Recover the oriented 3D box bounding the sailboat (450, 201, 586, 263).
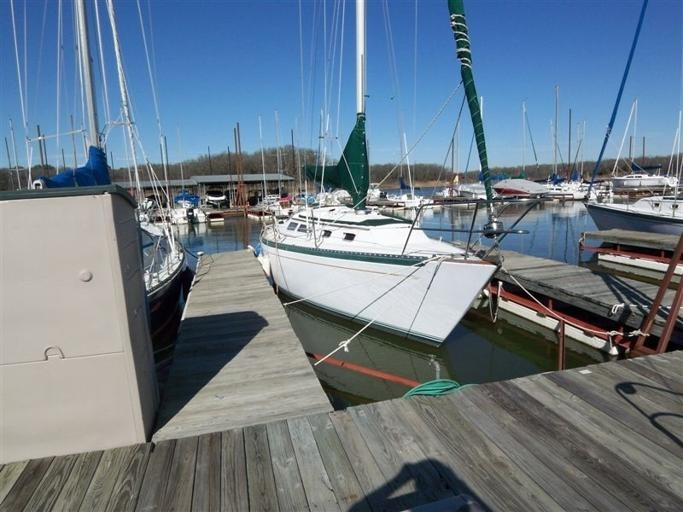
[{"bbox_3d":[5.737,-0.777,13.916,1.883,0.737,2.827,-19,25,-34],"label":"sailboat"}]
